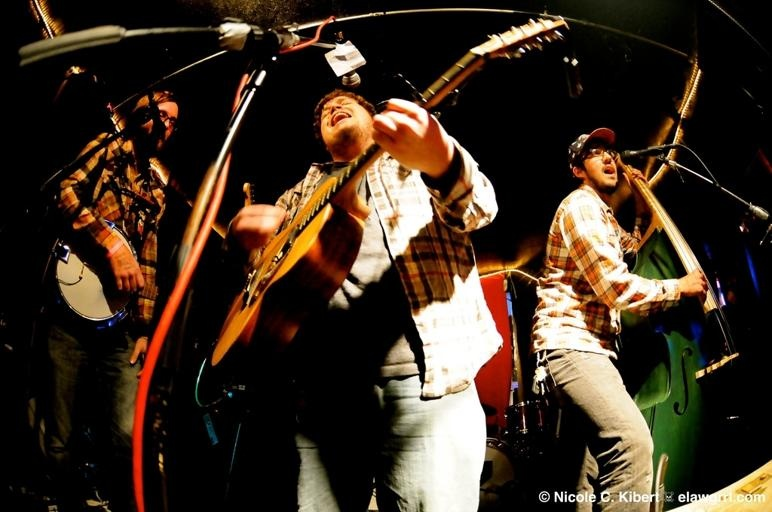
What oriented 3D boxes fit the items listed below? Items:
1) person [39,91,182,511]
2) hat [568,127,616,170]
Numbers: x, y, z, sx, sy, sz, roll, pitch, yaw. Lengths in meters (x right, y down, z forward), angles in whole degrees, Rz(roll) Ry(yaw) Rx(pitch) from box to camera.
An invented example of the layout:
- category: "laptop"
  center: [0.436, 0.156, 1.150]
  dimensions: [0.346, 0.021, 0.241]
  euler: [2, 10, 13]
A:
- category: "person"
  center: [-1.965, 0.267, 3.992]
  dimensions: [0.811, 2.919, 0.805]
  euler: [1, -19, -11]
- category: "hat"
  center: [1.516, -0.851, 4.316]
  dimensions: [0.266, 0.123, 0.388]
  euler: [-6, -23, -27]
